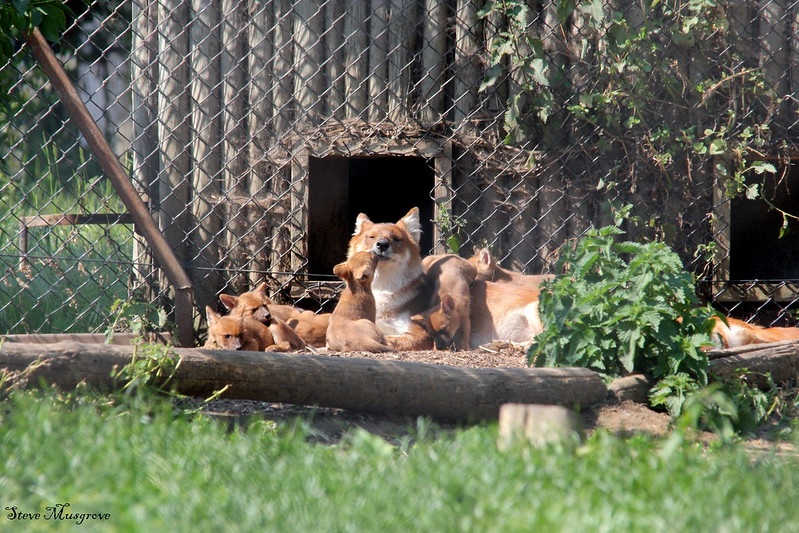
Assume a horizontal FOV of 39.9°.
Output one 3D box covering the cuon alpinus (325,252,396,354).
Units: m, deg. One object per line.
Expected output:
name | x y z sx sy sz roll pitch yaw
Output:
cuon alpinus | -0.426 0.416 9.669 0.405 0.597 1.212 -4 28 15

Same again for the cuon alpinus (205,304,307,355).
cuon alpinus | -1.263 0.565 9.593 0.679 0.386 0.392 7 -6 -27

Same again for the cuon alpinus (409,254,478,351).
cuon alpinus | 0.463 0.212 10.137 0.336 0.552 1.132 -13 34 20

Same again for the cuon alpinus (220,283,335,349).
cuon alpinus | -1.107 0.438 10.016 1.108 0.628 0.452 3 -8 -32
